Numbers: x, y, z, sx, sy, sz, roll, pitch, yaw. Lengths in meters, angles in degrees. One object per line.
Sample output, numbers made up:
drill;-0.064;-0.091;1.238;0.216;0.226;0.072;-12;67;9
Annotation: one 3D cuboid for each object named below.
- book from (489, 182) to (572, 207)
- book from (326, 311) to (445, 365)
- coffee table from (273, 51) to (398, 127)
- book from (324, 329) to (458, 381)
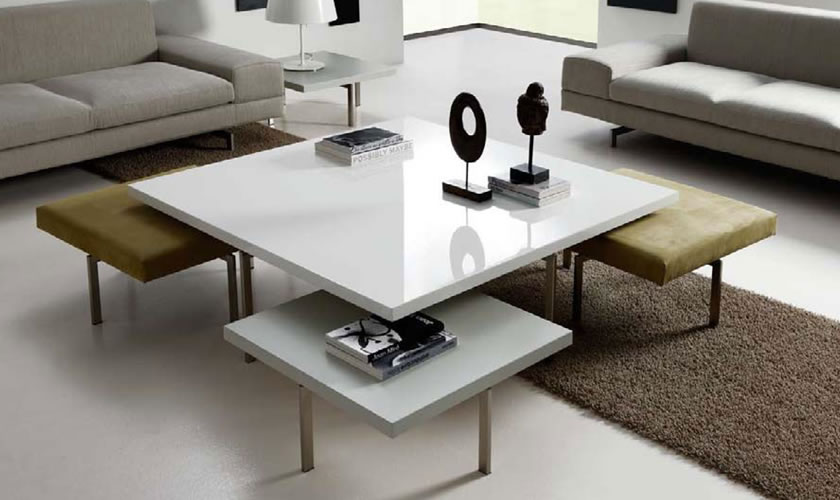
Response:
book;0.636;-0.321;3.542;0.207;0.049;0.206;-19;28;-40
book;-0.138;0.350;2.752;0.300;0.067;0.227;-20;30;-36
coffee table;-0.732;-1.515;5.752;0.730;0.403;0.859;21;30;39
book;-0.092;0.428;2.704;0.269;0.060;0.271;-21;30;-41
